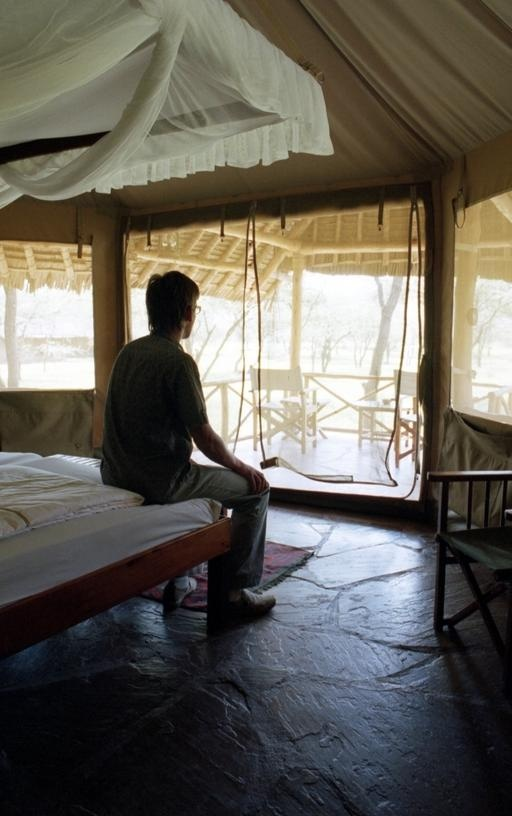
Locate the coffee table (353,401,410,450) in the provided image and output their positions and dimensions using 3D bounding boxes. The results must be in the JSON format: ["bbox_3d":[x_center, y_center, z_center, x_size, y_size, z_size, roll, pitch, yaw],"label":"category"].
[{"bbox_3d":[1.029,0.111,4.882,0.433,0.334,0.352,0,-2,19],"label":"coffee table"}]

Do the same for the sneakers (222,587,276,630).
[{"bbox_3d":[-0.030,0.741,2.256,0.232,0.107,0.078,-8,13,-35],"label":"sneakers"}]

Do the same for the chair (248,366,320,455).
[{"bbox_3d":[0.232,-0.007,4.775,0.605,0.712,0.566,-9,12,-38],"label":"chair"}]
